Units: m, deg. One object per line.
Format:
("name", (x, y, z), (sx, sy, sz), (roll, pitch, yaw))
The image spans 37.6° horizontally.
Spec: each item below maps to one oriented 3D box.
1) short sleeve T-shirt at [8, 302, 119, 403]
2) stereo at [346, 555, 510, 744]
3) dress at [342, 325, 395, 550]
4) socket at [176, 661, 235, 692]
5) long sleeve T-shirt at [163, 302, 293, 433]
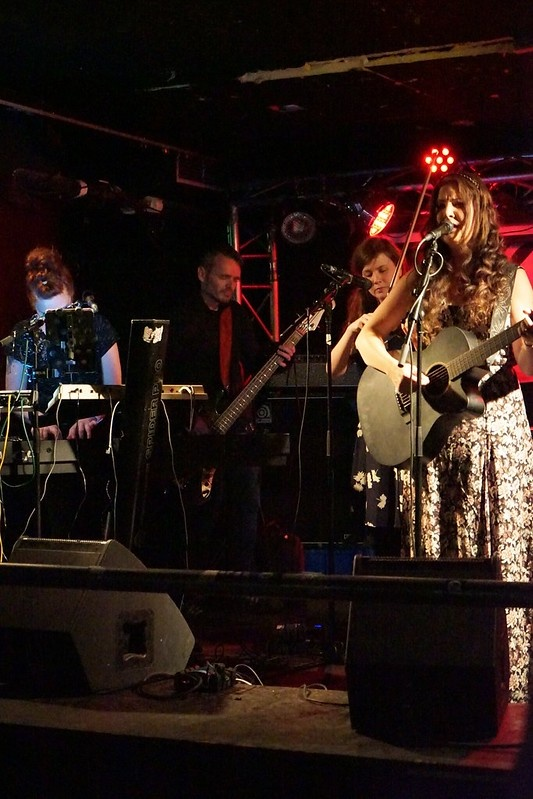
("short sleeve T-shirt", (-0.923, -0.197, 3.568), (0.558, 0.495, 0.296), (-1, -16, -11))
("stereo", (0.330, 0.542, 1.794), (0.386, 0.407, 0.362), (-1, -16, 17))
("dress", (0.556, 0.270, 3.685), (0.354, 0.811, 0.118), (4, 1, 32))
("socket", (-0.152, 0.710, 2.024), (0.097, 0.032, 0.068), (-4, -4, -6))
("long sleeve T-shirt", (-0.210, -0.113, 4.347), (0.551, 0.159, 1.389), (-2, 22, -24))
